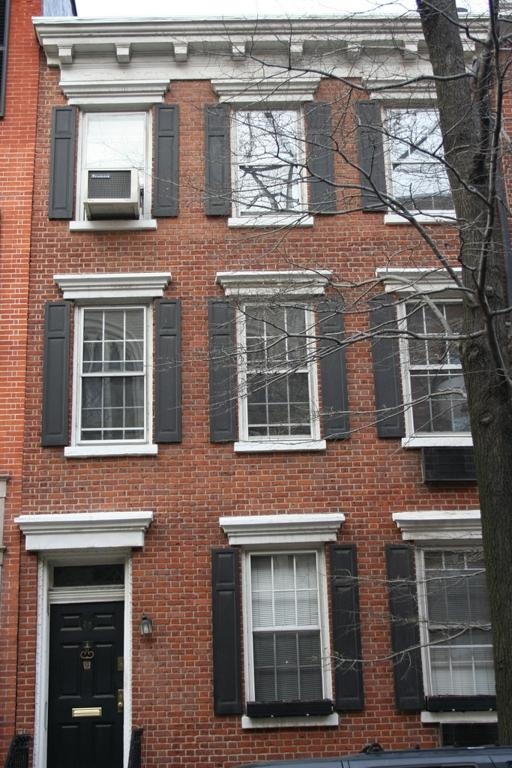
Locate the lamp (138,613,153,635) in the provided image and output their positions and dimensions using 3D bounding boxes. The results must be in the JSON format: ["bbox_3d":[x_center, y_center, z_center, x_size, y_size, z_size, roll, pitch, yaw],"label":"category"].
[{"bbox_3d":[-1.245,2.688,12.950,0.125,0.233,0.135,8,-48,-20],"label":"lamp"}]

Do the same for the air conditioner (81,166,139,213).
[{"bbox_3d":[-1.760,-2.285,14.197,0.774,0.641,0.465,-2,-21,0],"label":"air conditioner"}]
